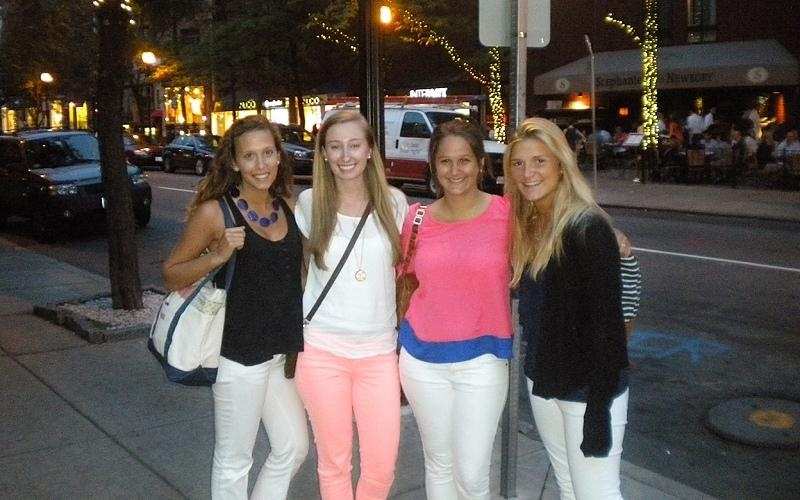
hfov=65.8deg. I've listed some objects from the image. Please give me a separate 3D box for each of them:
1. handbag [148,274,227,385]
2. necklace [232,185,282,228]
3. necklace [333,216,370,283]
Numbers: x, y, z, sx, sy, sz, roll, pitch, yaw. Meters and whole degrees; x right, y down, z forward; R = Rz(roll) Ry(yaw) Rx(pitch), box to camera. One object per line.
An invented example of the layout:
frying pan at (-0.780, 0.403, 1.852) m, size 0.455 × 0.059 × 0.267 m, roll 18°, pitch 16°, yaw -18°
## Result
handbag at (-1.419, 0.536, 4.100) m, size 0.569 × 0.730 × 0.217 m, roll 0°, pitch 15°, yaw 9°
necklace at (-0.965, -0.310, 4.145) m, size 0.054 × 0.296 × 0.270 m, roll -37°, pitch 2°, yaw 43°
necklace at (-0.331, -0.028, 4.172) m, size 0.100 × 0.465 × 0.354 m, roll 10°, pitch 20°, yaw 41°
